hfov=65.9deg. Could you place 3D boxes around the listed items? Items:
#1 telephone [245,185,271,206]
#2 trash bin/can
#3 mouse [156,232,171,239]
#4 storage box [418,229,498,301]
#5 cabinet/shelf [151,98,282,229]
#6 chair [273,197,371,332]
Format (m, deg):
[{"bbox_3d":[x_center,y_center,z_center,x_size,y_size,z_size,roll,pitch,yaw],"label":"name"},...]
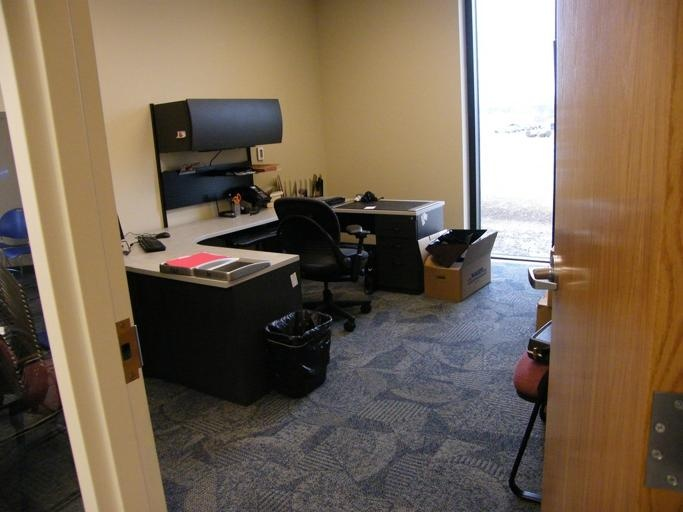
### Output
[{"bbox_3d":[-0.763,-0.566,4.857,0.218,0.079,0.159,31,33,17],"label":"telephone"},{"bbox_3d":[-0.217,0.554,3.101,0.289,0.430,0.416,6,21,32],"label":"trash bin/can"},{"bbox_3d":[-1.315,-0.155,3.928,0.079,0.026,0.047,-2,7,25],"label":"mouse"},{"bbox_3d":[1.016,0.058,4.590,0.505,0.479,0.647,7,18,38],"label":"storage box"},{"bbox_3d":[-1.076,-0.768,4.383,0.360,0.966,1.036,6,18,24],"label":"cabinet/shelf"},{"bbox_3d":[-0.105,0.020,3.955,0.720,0.955,0.678,-11,12,-44],"label":"chair"}]
